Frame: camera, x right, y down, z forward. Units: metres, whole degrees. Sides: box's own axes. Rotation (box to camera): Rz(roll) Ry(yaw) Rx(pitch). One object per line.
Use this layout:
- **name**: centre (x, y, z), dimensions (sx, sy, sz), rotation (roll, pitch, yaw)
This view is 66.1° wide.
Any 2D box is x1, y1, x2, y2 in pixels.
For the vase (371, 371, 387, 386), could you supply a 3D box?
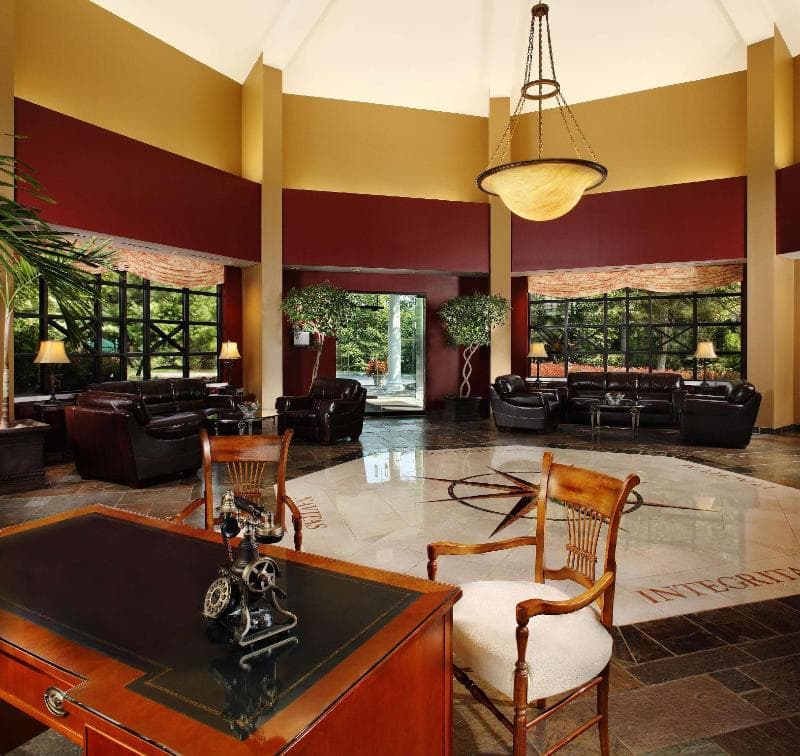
- **vase**: centre (-0.368, 0.045, 11.462), dimensions (0.261, 0.253, 0.259), rotation (1, 0, 12)

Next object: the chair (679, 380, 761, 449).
- **chair**: centre (4.388, 0.447, 8.530), dimensions (0.872, 0.815, 1.350), rotation (-1, 8, 22)

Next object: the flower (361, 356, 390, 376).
- **flower**: centre (-0.423, -0.199, 11.416), dimensions (0.371, 0.320, 0.342), rotation (0, -5, -5)

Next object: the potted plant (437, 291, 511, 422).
- **potted plant**: centre (1.262, -0.782, 10.781), dimensions (1.204, 1.564, 0.790), rotation (1, -18, -9)

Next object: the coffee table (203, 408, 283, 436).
- **coffee table**: centre (-2.004, 0.579, 7.499), dimensions (0.856, 0.189, 0.846), rotation (0, 3, 2)

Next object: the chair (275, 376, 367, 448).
- **chair**: centre (-1.117, 0.467, 8.695), dimensions (0.992, 0.750, 0.938), rotation (2, 6, 29)

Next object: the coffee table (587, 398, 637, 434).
- **coffee table**: centre (3.249, 0.565, 9.344), dimensions (0.629, 0.367, 0.656), rotation (0, 0, 24)

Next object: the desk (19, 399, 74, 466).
- **desk**: centre (-3.949, 0.523, 7.069), dimensions (0.779, 0.794, 0.906), rotation (0, 1, -35)

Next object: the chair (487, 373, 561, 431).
- **chair**: centre (2.058, 0.371, 9.906), dimensions (0.944, 0.757, 1.411), rotation (4, 8, 19)

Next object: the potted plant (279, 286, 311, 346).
- **potted plant**: centre (-1.669, -0.991, 10.197), dimensions (0.538, 1.072, 1.615), rotation (3, 6, -10)
